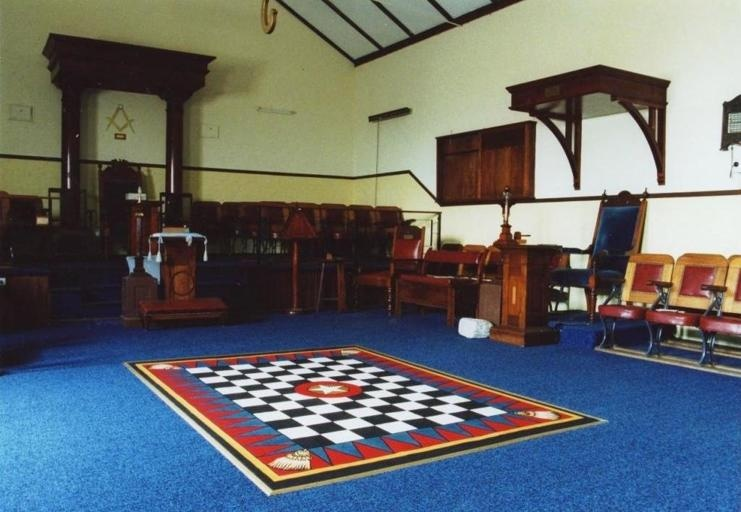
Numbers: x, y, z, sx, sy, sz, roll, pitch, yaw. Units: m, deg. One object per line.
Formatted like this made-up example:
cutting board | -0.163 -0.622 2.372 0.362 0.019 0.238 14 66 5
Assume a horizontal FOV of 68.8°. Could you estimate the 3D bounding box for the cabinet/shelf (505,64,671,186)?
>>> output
cabinet/shelf | 2.993 -1.373 7.502 1.630 1.548 2.025 5 -5 -31
